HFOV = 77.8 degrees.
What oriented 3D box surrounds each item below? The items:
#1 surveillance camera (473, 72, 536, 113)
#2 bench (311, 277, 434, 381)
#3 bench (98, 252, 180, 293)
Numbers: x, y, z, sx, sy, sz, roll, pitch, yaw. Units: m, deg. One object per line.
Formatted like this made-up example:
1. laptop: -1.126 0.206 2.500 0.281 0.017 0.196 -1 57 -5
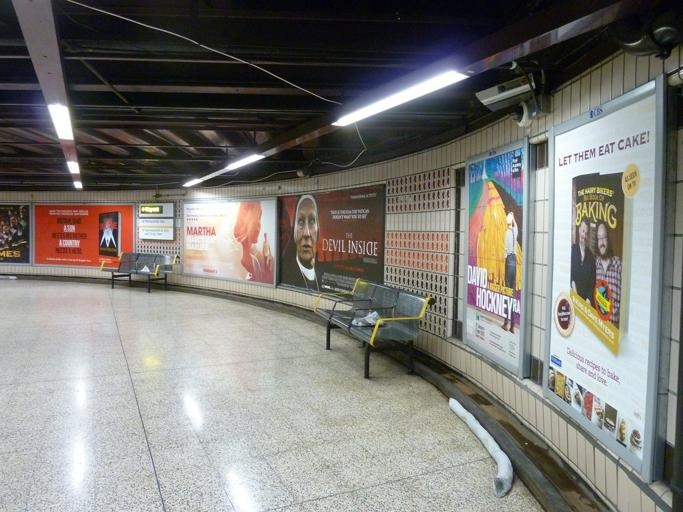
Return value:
1. surveillance camera: 1.312 -1.283 3.295 0.205 0.154 0.425 -1 4 -41
2. bench: 0.347 0.917 5.643 0.820 0.972 2.004 -1 4 -22
3. bench: -5.349 0.370 11.047 1.956 0.791 0.718 3 5 22
